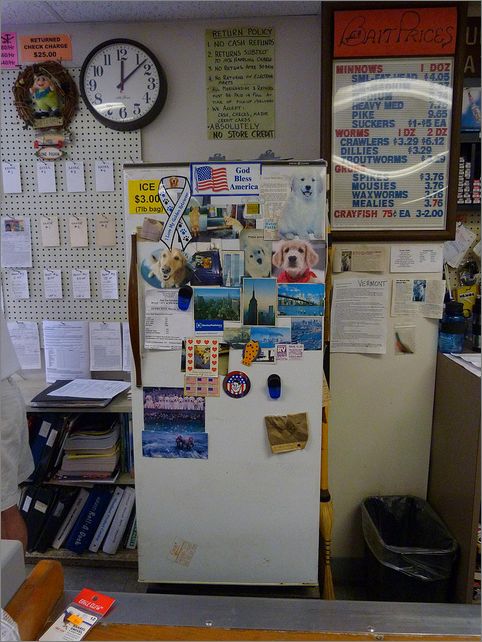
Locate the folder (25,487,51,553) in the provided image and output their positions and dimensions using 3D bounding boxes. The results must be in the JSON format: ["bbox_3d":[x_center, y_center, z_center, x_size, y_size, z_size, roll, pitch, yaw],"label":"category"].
[{"bbox_3d":[-0.948,0.850,2.453,0.058,0.345,0.304,10,1,-24],"label":"folder"}]

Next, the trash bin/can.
[{"bbox_3d":[0.676,0.799,2.120,0.270,0.390,0.481,-1,9,0],"label":"trash bin/can"}]

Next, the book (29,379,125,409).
[{"bbox_3d":[-0.699,0.312,2.371,0.377,0.048,0.384,0,13,4],"label":"book"}]

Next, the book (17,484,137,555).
[{"bbox_3d":[-0.727,0.897,2.350,0.400,0.385,0.138,3,-2,-2],"label":"book"}]

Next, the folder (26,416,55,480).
[{"bbox_3d":[-0.868,0.516,2.264,0.042,0.228,0.196,8,-12,-9],"label":"folder"}]

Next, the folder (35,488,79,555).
[{"bbox_3d":[-0.831,0.914,2.360,0.050,0.253,0.226,12,-11,7],"label":"folder"}]

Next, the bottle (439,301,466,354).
[{"bbox_3d":[0.904,0.026,2.208,0.108,0.220,0.097,1,11,9],"label":"bottle"}]

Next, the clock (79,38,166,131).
[{"bbox_3d":[-0.521,-1.056,2.306,0.379,0.367,0.031,1,10,5],"label":"clock"}]

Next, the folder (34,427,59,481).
[{"bbox_3d":[-0.840,0.583,2.269,0.039,0.208,0.194,13,24,-8],"label":"folder"}]
